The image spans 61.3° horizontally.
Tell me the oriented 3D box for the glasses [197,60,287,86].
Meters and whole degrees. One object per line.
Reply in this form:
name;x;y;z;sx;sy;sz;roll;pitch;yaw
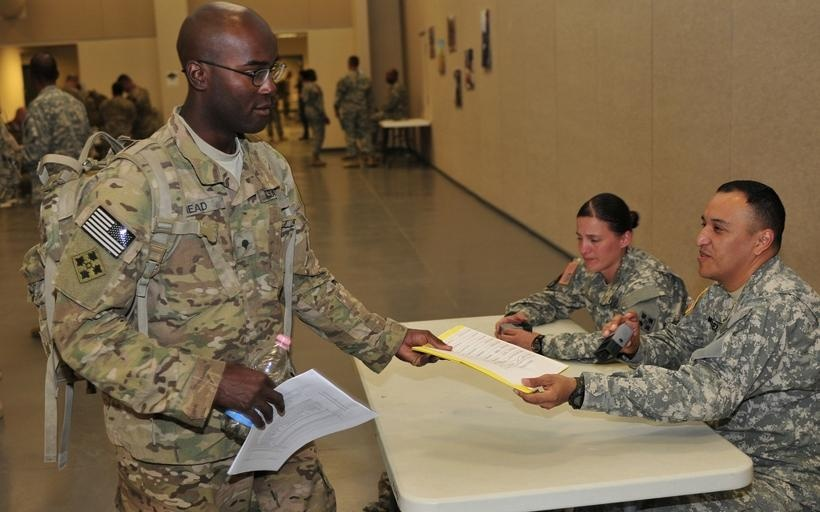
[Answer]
glasses;-0.542;-0.627;2.353;0.151;0.040;0.146;14;14;26

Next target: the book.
book;0.332;0.381;2.711;0.405;0.071;0.701;23;7;15
